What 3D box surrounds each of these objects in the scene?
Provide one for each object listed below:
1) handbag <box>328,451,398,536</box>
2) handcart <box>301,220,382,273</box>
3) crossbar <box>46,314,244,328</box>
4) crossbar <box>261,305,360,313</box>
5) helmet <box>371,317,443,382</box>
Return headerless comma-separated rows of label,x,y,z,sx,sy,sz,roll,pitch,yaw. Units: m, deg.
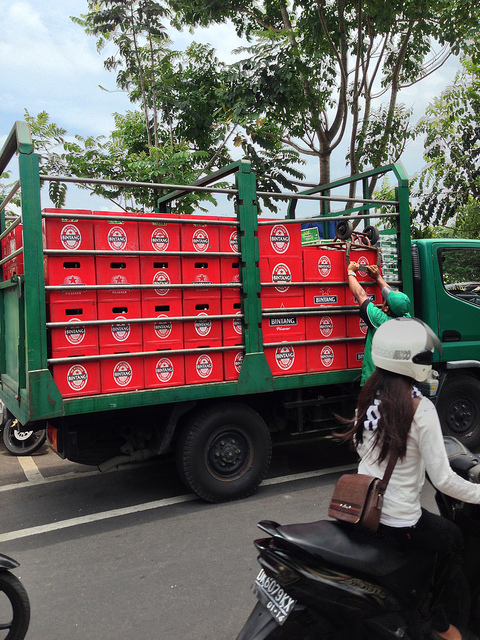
handbag,0.424,0.558,1.824,0.103,0.307,0.189,25,-21,-24
handcart,1.012,-0.663,5.179,0.505,0.435,0.691,-2,2,-37
crossbar,-0.667,0.010,3.943,1.539,0.062,0.077,-1,-1,-28
crossbar,0.658,-0.095,4.714,1.074,0.057,0.116,-1,-1,-34
helmet,0.619,0.104,1.933,0.260,0.223,0.236,-2,8,-8
